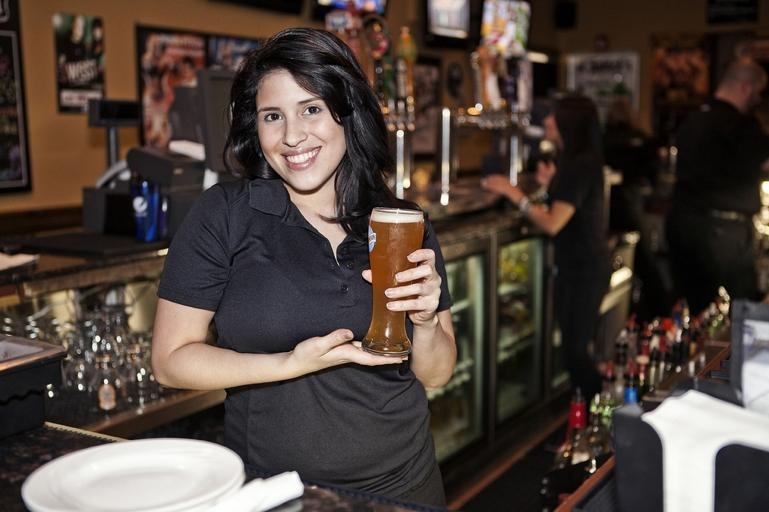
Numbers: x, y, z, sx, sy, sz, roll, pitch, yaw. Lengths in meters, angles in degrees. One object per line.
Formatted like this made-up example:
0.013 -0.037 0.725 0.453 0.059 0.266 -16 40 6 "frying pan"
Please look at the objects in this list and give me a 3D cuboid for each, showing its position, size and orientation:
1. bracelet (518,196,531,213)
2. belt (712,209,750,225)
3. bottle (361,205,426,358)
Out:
0.707 -0.248 3.124 0.057 0.073 0.072 -2 -11 0 "bracelet"
1.733 -0.191 3.073 0.136 0.038 0.030 18 15 7 "belt"
0.021 0.066 1.592 0.167 0.369 0.109 -11 16 -37 "bottle"
